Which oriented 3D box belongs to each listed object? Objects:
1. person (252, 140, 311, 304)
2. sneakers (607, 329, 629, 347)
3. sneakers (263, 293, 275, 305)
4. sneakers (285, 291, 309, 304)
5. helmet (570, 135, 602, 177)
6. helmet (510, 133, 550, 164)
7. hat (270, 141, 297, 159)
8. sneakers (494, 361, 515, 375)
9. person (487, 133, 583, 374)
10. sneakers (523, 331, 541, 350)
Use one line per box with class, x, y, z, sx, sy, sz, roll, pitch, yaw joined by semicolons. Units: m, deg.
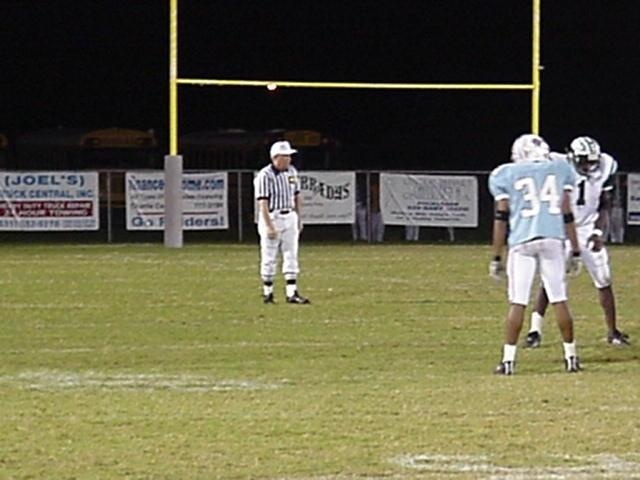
person;-0.574;-0.191;17.882;0.497;2.230;0.939;1;2;43
sneakers;3.479;1.172;15.331;0.256;0.178;0.173;0;2;13
sneakers;-0.728;0.860;18.093;0.120;0.150;0.163;-3;-9;24
sneakers;-0.367;0.843;18.091;0.382;0.159;0.132;-2;-2;23
helmet;3.139;-1.025;15.315;0.372;0.371;0.413;-9;45;-10
helmet;2.230;-0.913;14.127;0.357;0.301;0.300;-35;10;13
hat;-0.565;-1.197;17.839;0.435;0.223;0.312;0;7;13
sneakers;1.958;1.413;13.984;0.199;0.122;0.185;-4;-39;3
person;2.282;0.181;13.986;0.948;2.551;0.452;-1;2;5
sneakers;2.460;1.196;15.179;0.112;0.173;0.285;7;21;26
